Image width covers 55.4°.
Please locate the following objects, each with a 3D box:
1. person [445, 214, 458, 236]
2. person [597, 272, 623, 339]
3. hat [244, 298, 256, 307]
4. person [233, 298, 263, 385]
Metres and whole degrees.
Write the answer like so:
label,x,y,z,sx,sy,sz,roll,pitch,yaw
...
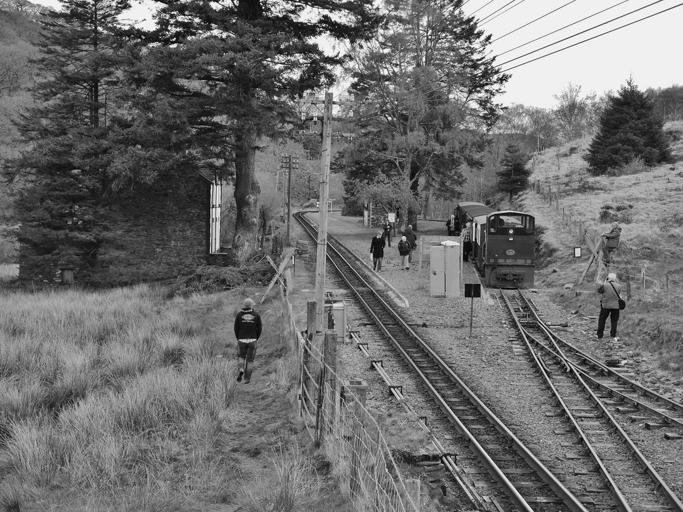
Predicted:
label,x,y,z,sx,sy,sz,roll,pitch,yaw
person,7.261,-2.102,42.770,0.622,1.426,3.081,0,1,11
person,9.057,1.701,21.986,0.768,2.281,1.287,1,1,21
hat,-2.475,1.236,17.384,0.215,0.267,0.808,0,1,-11
person,-2.545,2.218,17.756,0.687,2.249,1.582,0,1,-9
